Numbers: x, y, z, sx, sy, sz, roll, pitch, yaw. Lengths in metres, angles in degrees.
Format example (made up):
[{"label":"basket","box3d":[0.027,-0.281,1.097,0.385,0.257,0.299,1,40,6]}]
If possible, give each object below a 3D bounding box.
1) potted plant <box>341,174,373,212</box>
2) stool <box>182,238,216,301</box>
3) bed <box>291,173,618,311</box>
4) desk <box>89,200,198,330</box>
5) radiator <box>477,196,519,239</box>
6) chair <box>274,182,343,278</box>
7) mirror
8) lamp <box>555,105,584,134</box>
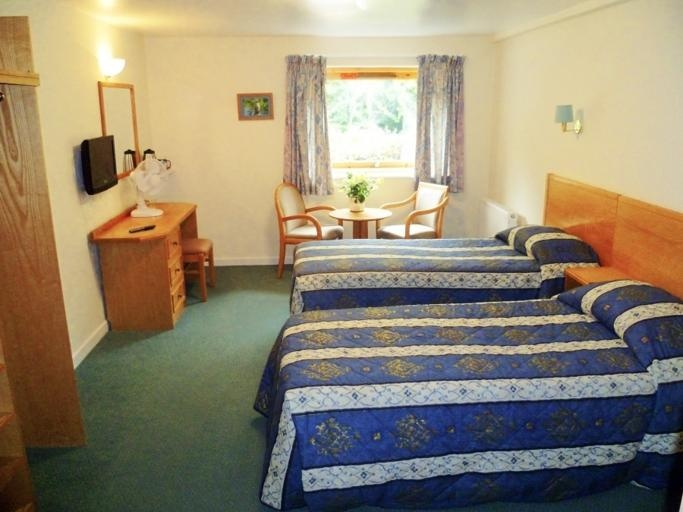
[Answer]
[{"label":"potted plant","box3d":[0.201,-0.857,7.072,0.469,0.589,0.490,-6,16,-24]},{"label":"stool","box3d":[-1.819,0.204,6.435,0.358,0.480,0.384,-20,11,20]},{"label":"bed","box3d":[0.782,-0.162,4.953,2.006,0.587,1.206,-3,14,-4]},{"label":"desk","box3d":[-2.203,-0.021,6.318,0.879,0.965,2.073,-1,17,-6]},{"label":"radiator","box3d":[2.003,-0.500,6.708,0.101,0.422,0.613,-6,14,-12]},{"label":"chair","box3d":[-0.384,-0.366,7.120,1.015,1.156,0.937,-11,19,-34]},{"label":"mirror","box3d":[-2.565,-1.575,6.018,0.855,0.812,0.052,17,22,41]},{"label":"lamp","box3d":[2.233,-1.337,5.158,0.245,0.292,0.624,3,17,24]}]
